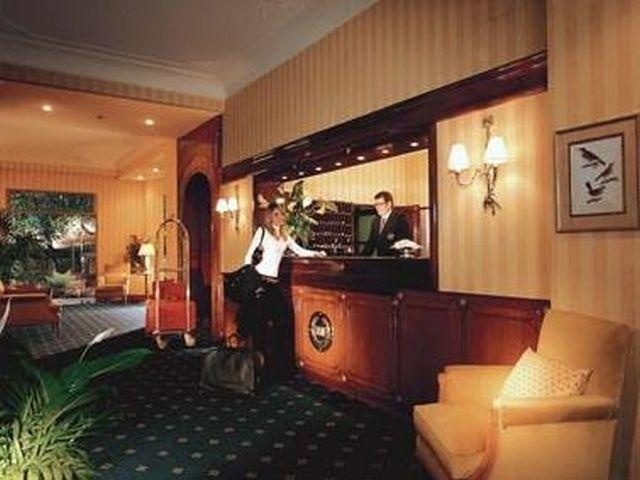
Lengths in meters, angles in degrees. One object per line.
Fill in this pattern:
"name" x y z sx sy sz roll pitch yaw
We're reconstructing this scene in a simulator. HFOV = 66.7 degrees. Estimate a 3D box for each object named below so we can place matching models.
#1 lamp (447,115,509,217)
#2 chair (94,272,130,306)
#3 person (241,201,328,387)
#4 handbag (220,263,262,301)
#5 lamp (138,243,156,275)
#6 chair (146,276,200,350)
"lamp" 1.376 -0.658 4.218 0.237 0.898 0.611 -1 1 -31
"chair" -5.786 1.311 13.642 0.749 1.084 0.990 2 -15 -17
"person" -0.654 0.589 6.155 0.794 2.093 0.434 1 3 19
"handbag" -0.983 0.484 6.387 0.464 0.336 0.657 -12 0 8
"lamp" -4.761 0.478 13.374 0.546 0.843 0.564 -4 -5 25
"chair" -2.340 1.119 7.576 0.708 1.045 0.556 4 -24 -28
